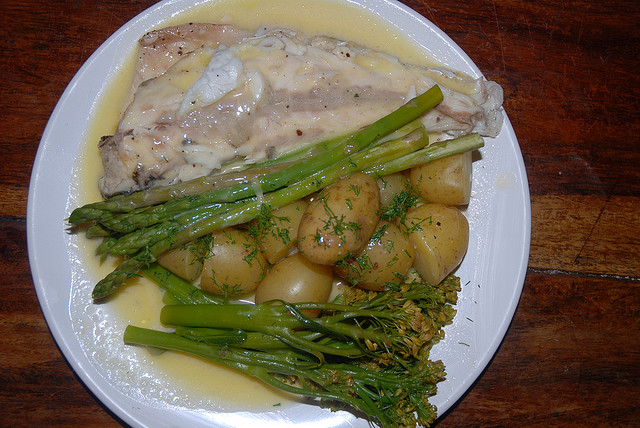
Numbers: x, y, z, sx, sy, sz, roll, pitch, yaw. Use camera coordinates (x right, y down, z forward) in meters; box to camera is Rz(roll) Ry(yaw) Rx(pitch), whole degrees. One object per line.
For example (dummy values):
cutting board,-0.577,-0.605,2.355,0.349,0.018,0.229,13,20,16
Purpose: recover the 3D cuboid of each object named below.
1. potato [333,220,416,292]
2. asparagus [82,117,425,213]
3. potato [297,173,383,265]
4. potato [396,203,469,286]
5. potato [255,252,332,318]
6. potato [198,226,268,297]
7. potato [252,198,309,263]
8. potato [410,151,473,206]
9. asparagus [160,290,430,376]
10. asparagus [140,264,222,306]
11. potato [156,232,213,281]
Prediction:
potato,0.378,0.326,4.368,0.490,0.454,0.292,-5,3,-10
asparagus,-0.443,-0.344,4.431,1.757,0.211,0.135,-16,-20,-3
potato,0.155,0.040,4.220,0.717,0.464,0.178,-45,-1,-5
potato,0.826,0.156,4.487,0.422,0.550,0.486,-17,38,-24
potato,-0.160,0.469,4.309,0.372,0.519,0.296,39,-9,12
potato,-0.606,0.299,4.468,0.415,0.468,0.552,-13,33,-20
potato,-0.313,0.087,4.486,0.326,0.431,0.240,45,-1,-21
potato,0.921,-0.272,4.642,0.381,0.386,0.490,2,34,13
asparagus,-0.192,0.840,4.234,1.966,0.709,0.618,10,2,-19
asparagus,-0.979,0.502,4.421,0.331,0.153,0.269,-16,28,-31
potato,-0.950,0.312,4.370,0.382,0.325,0.464,-6,33,-10
